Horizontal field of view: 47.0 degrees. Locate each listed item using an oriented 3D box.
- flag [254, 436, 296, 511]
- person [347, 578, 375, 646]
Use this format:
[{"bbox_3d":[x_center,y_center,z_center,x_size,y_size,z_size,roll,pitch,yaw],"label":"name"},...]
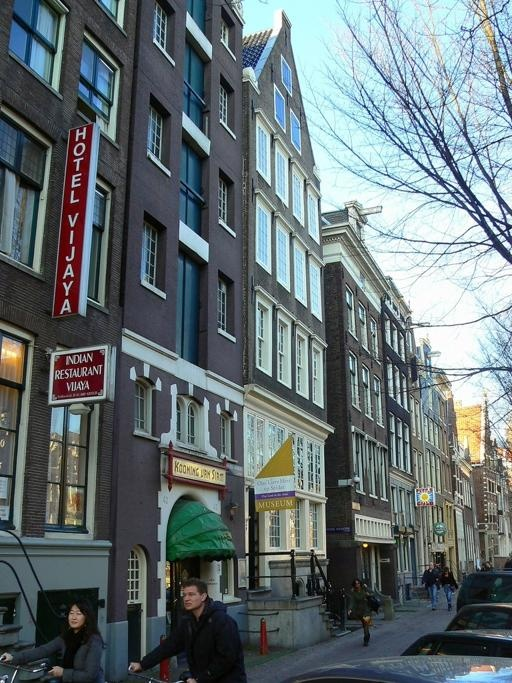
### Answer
[{"bbox_3d":[0.572,4.083,18.490,1.191,2.242,0.933,-1,-18,-3],"label":"flag"},{"bbox_3d":[3.219,8.249,18.126,0.588,1.820,1.242,-5,-19,8],"label":"person"}]
